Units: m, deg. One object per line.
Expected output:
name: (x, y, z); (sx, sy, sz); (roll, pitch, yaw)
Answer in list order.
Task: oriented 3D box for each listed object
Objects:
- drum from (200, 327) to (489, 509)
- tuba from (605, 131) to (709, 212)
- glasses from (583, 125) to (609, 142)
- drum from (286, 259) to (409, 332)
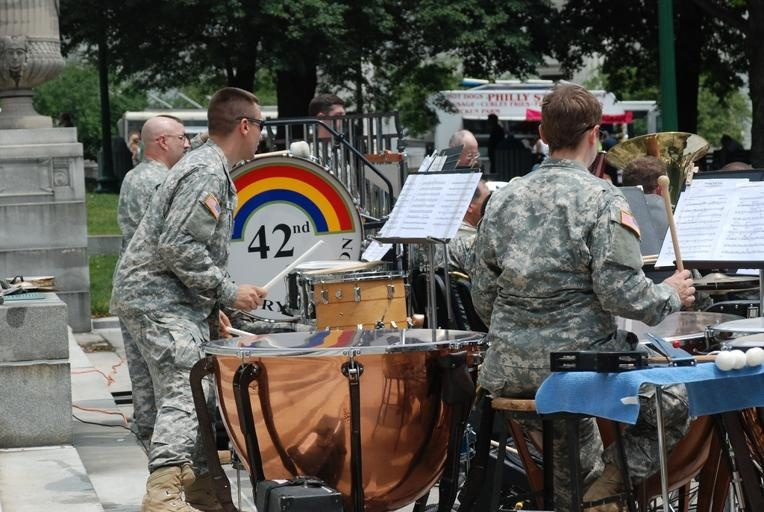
drum: (-0.323, 1.302, 13.160); (1.831, 1.061, 1.737); (-1, -5, 0)
tuba: (3.101, -1.082, 17.186); (0.947, 0.953, 0.978); (23, -49, -16)
glasses: (1.769, -1.035, 12.649); (0.176, 0.163, 0.058); (4, 10, 13)
drum: (-0.267, 0.407, 14.046); (0.973, 0.529, 0.229); (-3, 3, -8)
